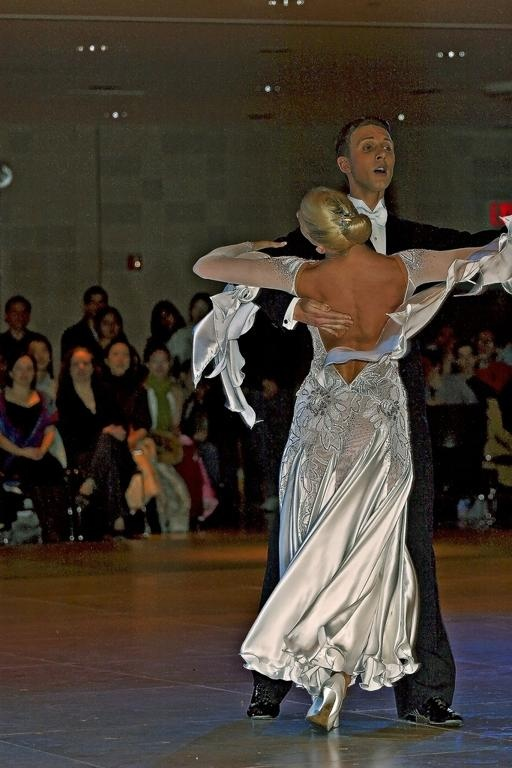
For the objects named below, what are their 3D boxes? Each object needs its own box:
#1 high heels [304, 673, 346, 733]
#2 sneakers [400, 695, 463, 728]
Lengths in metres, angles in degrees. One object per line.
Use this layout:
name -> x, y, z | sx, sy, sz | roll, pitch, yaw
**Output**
high heels -> 0.171, 0.771, 2.511 | 0.069, 0.149, 0.070 | 9, -11, 32
sneakers -> 0.443, 0.822, 2.547 | 0.167, 0.053, 0.057 | -10, -13, 39
